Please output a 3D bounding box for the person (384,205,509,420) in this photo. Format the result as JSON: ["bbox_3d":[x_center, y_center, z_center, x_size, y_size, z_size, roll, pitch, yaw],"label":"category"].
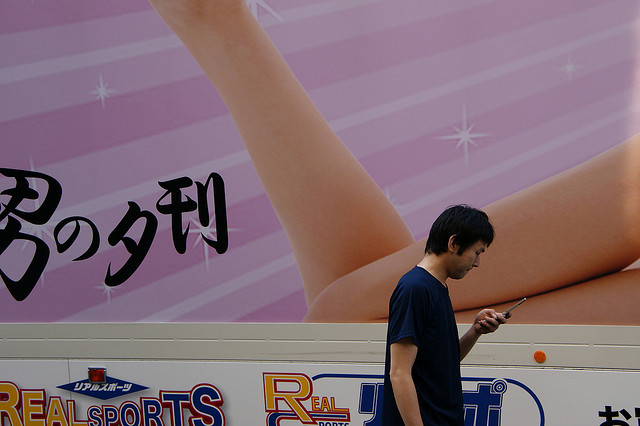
[{"bbox_3d":[0.649,0.544,4.758,0.588,1.088,0.427,-1,-22,-5],"label":"person"}]

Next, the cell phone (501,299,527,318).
[{"bbox_3d":[1.176,0.574,5.322,0.202,0.048,0.021,-37,-3,-5],"label":"cell phone"}]

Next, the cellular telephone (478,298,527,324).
[{"bbox_3d":[1.101,0.586,5.247,0.270,0.040,0.033,-30,-57,9],"label":"cellular telephone"}]
